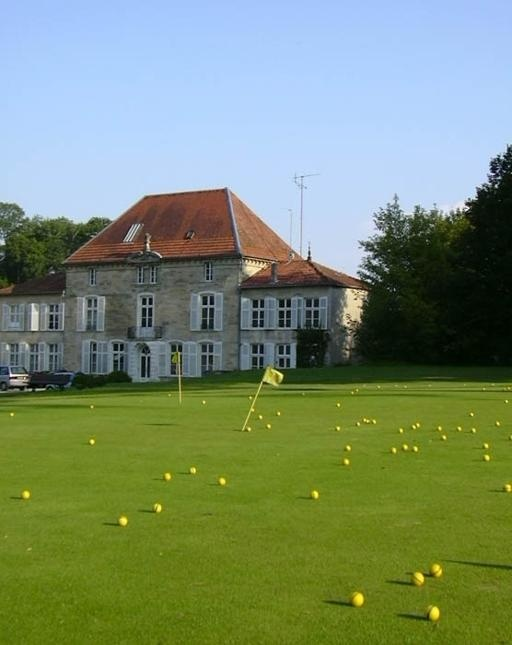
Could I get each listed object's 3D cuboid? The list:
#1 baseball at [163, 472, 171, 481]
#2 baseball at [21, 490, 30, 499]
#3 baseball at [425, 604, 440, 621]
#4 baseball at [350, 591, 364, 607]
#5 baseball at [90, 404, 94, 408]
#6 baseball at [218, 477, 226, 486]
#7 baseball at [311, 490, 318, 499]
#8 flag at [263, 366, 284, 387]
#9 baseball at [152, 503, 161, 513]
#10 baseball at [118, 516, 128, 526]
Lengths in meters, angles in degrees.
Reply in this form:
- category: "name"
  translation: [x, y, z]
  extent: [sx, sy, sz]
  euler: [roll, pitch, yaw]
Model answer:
- category: "baseball"
  translation: [-1.012, 1.772, 9.088]
  extent: [0.060, 0.054, 0.054]
  euler: [8, 34, -34]
- category: "baseball"
  translation: [-2.311, 1.725, 7.965]
  extent: [0.078, 0.077, 0.070]
  euler: [14, -25, 7]
- category: "baseball"
  translation: [1.012, 1.654, 4.542]
  extent: [0.070, 0.064, 0.068]
  euler: [-1, -4, 6]
- category: "baseball"
  translation: [0.611, 1.654, 4.776]
  extent: [0.072, 0.068, 0.065]
  euler: [2, -3, 4]
- category: "baseball"
  translation: [-4.537, 2.318, 21.988]
  extent: [0.092, 0.068, 0.203]
  euler: [6, 1, -11]
- category: "baseball"
  translation: [-0.377, 1.747, 8.721]
  extent: [0.068, 0.059, 0.069]
  euler: [-6, -37, 13]
- category: "baseball"
  translation: [0.588, 1.730, 7.963]
  extent: [0.054, 0.054, 0.051]
  euler: [-2, -1, 23]
- category: "flag"
  translation: [0.299, 0.953, 14.093]
  extent: [0.294, 0.327, 0.462]
  euler: [1, -1, -4]
- category: "baseball"
  translation: [-0.910, 1.708, 7.317]
  extent: [0.070, 0.063, 0.061]
  euler: [0, -41, 20]
- category: "baseball"
  translation: [-1.138, 1.694, 6.784]
  extent: [0.065, 0.056, 0.060]
  euler: [23, -16, -3]
